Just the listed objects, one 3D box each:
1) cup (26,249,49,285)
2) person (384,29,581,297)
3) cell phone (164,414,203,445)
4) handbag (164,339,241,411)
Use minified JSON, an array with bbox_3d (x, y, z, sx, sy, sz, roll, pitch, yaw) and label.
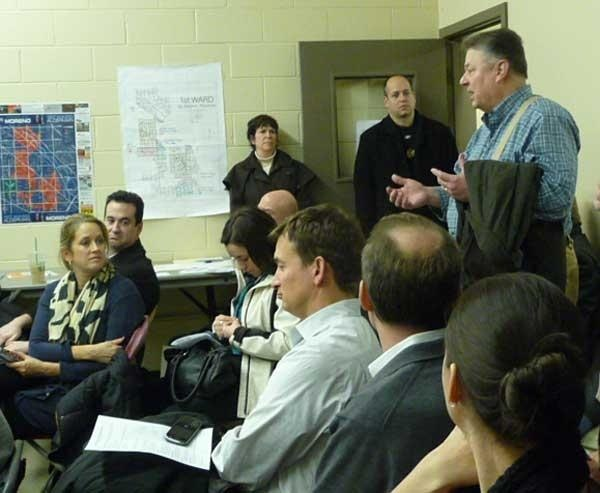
[{"bbox_3d":[-1.638,0.129,3.939,0.080,0.262,0.098,-12,-18,-8],"label":"cup"},{"bbox_3d":[0.684,-0.334,2.365,0.661,0.917,0.527,2,14,25],"label":"person"},{"bbox_3d":[-0.323,0.516,1.772,0.069,0.036,0.104,2,15,25],"label":"cell phone"},{"bbox_3d":[-0.323,0.436,2.148,0.234,0.239,0.125,5,9,39],"label":"handbag"}]
